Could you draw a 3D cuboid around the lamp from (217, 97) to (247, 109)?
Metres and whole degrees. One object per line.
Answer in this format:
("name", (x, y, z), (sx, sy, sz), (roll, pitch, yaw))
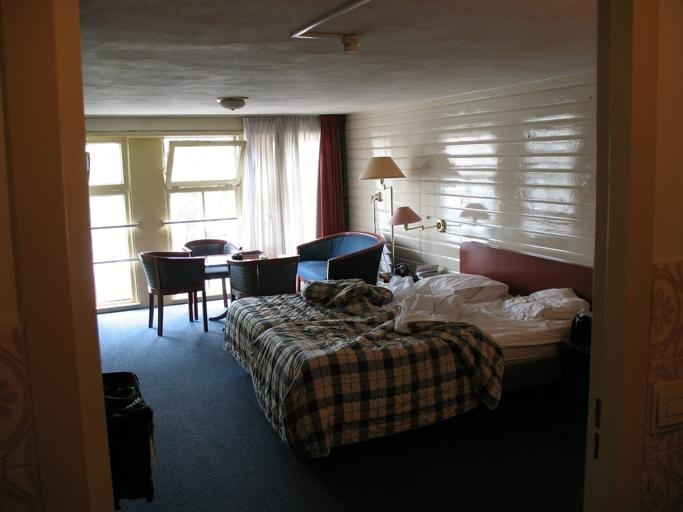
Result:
("lamp", (-0.984, -1.381, 4.590), (0.157, 0.056, 0.158), (2, 7, 37))

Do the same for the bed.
("bed", (0.339, 0.522, 4.513), (2.555, 0.925, 2.860), (-6, 12, -21))

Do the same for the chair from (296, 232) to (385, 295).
("chair", (-0.059, 0.208, 6.519), (0.866, 0.888, 1.015), (-6, 14, -33))

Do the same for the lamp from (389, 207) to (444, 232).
("lamp", (0.842, -0.393, 5.861), (0.583, 0.257, 0.289), (-9, -7, -36))

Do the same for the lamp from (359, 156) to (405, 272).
("lamp", (0.502, -0.433, 6.272), (0.579, 1.439, 0.544), (0, 7, 6))
